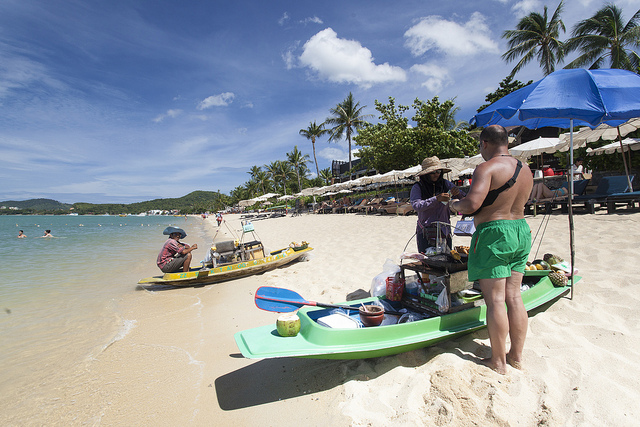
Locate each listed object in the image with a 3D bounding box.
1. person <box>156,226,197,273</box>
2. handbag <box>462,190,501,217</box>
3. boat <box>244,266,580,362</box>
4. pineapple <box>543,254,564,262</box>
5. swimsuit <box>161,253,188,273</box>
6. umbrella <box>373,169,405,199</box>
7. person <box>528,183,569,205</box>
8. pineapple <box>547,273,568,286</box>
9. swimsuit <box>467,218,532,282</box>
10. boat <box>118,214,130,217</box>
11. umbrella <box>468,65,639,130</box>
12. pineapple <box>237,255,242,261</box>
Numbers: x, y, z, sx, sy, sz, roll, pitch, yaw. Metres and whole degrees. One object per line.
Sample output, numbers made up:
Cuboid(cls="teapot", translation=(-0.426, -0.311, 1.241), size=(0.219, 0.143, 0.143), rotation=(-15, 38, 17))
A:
Cuboid(cls="person", translation=(-3.941, 1.055, 10.187), size=(0.942, 1.352, 1.098), rotation=(2, 3, 36))
Cuboid(cls="handbag", translation=(2.428, -0.194, 5.713), size=(0.166, 0.457, 0.342), rotation=(41, 12, 22))
Cuboid(cls="boat", translation=(1.949, 1.731, 6.332), size=(6.167, 0.794, 1.895), rotation=(-8, 6, -12))
Cuboid(cls="pineapple", translation=(4.469, 0.824, 7.245), size=(0.173, 0.090, 0.257), rotation=(-3, 8, -34))
Cuboid(cls="swimsuit", translation=(-3.785, 1.300, 9.891), size=(0.689, 0.282, 0.206), rotation=(-9, 7, -23))
Cuboid(cls="umbrella", translation=(3.864, -1.750, 20.779), size=(1.476, 1.208, 1.491), rotation=(4, 10, 33))
Cuboid(cls="person", translation=(7.240, -0.622, 11.976), size=(1.467, 0.582, 1.101), rotation=(-5, -3, 38))
Cuboid(cls="pineapple", translation=(4.411, 1.214, 6.976), size=(0.385, 0.265, 0.098), rotation=(-8, 7, -10))
Cuboid(cls="swimsuit", translation=(2.943, 0.475, 5.922), size=(0.595, 0.766, 0.910), rotation=(3, -12, 36))
Cuboid(cls="boat", translation=(-79.177, 0.658, 151.609), size=(3.774, 0.926, 6.922), rotation=(3, 1, -19))
Cuboid(cls="umbrella", translation=(4.207, -1.977, 6.624), size=(2.263, 1.075, 1.520), rotation=(-4, 7, 24))
Cuboid(cls="pineapple", translation=(-2.224, 1.249, 10.525), size=(0.192, 0.127, 0.077), rotation=(-2, 9, 40))
